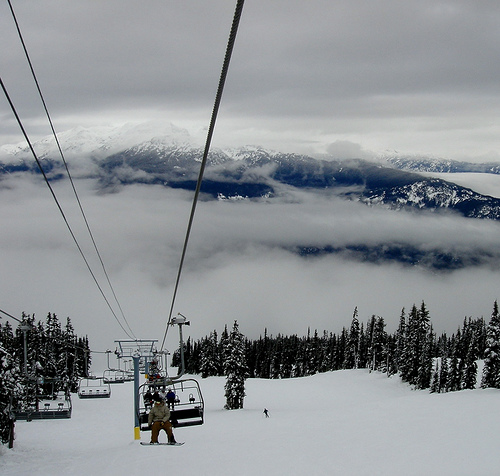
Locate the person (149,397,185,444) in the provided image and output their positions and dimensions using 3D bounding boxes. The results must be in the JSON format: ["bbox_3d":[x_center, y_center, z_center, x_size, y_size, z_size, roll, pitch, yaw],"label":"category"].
[{"bbox_3d":[-5.444,11.085,41.905,1.462,2.760,0.981,2,-7,-8],"label":"person"}]
